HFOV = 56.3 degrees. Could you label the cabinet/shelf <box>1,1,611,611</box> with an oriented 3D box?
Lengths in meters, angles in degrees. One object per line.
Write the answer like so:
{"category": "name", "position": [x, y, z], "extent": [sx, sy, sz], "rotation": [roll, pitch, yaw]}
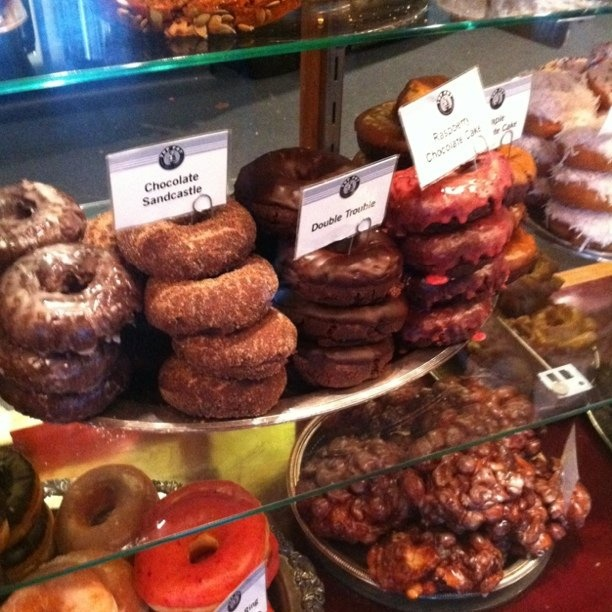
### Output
{"category": "cabinet/shelf", "position": [0.114, -0.098, 1.230], "extent": [1.193, 0.238, 0.984], "rotation": [-8, 31, -6]}
